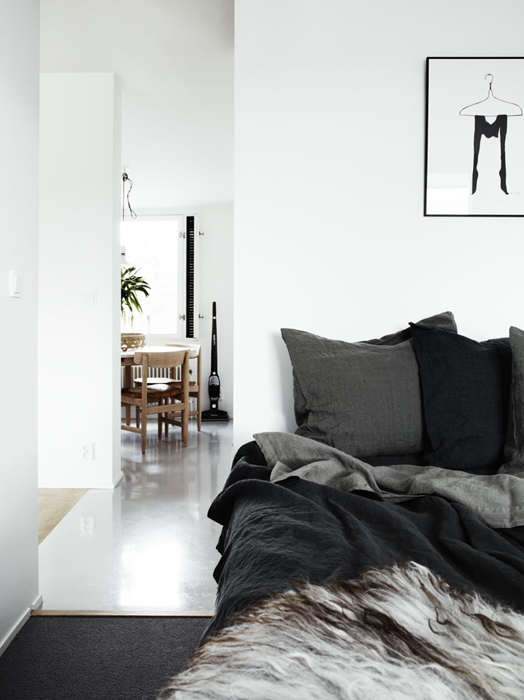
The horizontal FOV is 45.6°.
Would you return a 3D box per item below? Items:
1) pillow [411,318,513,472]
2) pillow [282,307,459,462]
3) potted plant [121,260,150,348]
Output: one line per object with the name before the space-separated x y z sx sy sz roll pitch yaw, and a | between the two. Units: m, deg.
pillow | 0.608 0.156 1.917 0.386 0.426 0.148 6 -21 -10
pillow | 0.349 0.144 2.044 0.486 0.438 0.227 -5 16 -4
potted plant | -1.137 -0.430 5.663 0.288 0.717 2.088 -1 7 -12
